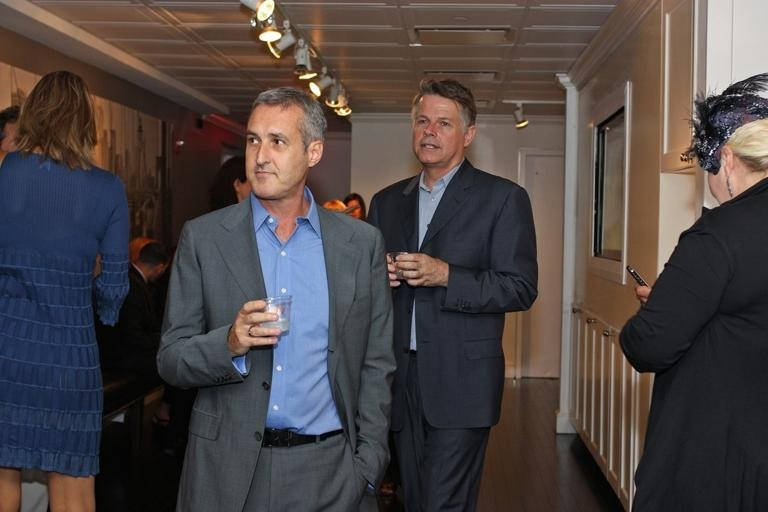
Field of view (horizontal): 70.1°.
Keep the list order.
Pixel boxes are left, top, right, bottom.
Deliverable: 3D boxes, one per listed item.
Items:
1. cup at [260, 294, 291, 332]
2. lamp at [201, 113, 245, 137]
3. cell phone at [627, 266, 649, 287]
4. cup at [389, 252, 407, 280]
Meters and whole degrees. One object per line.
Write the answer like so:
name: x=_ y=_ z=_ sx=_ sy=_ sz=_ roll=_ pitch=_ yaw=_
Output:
cup: x=-0.361 y=0.200 z=1.827 sx=0.100 sy=0.131 sz=0.128 roll=-3 pitch=-6 yaw=-7
lamp: x=-2.284 y=-1.915 z=7.843 sx=0.071 sy=0.152 sz=1.008 roll=5 pitch=1 yaw=23
cell phone: x=1.417 y=0.105 z=3.036 sx=0.050 sy=0.041 sz=0.212 roll=-37 pitch=-44 yaw=19
cup: x=0.058 y=0.043 z=2.456 sx=0.096 sy=0.129 sz=0.108 roll=-3 pitch=3 yaw=2
